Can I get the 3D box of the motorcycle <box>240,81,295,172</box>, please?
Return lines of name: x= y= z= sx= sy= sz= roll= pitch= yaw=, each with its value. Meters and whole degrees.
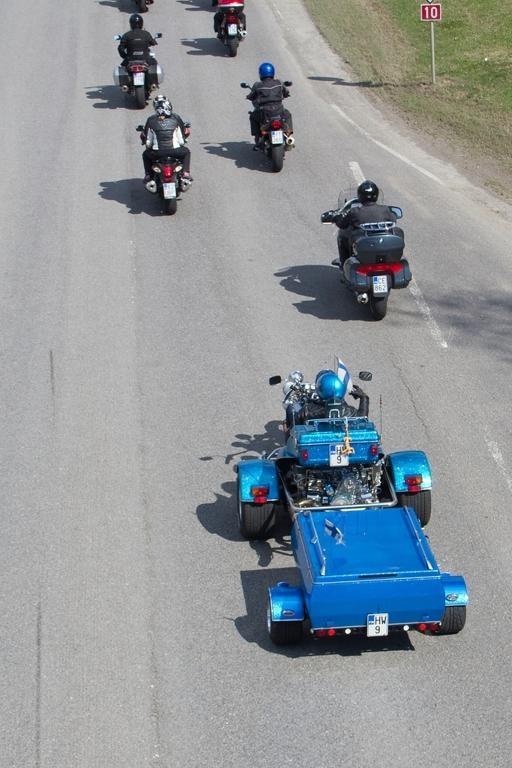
motorcycle: x=0.369 y=-5.824 z=21.344 sx=0.828 sy=1.874 sz=1.210 roll=-7 pitch=29 yaw=-11

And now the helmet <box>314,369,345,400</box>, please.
helmet: x=0.786 y=0.066 z=9.885 sx=0.320 sy=0.376 sz=0.571 roll=0 pitch=29 yaw=4

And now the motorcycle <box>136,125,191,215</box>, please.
motorcycle: x=-1.896 y=-4.458 z=19.360 sx=0.873 sy=1.157 sz=1.982 roll=-8 pitch=39 yaw=2

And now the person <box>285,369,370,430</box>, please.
person: x=0.701 y=0.270 z=10.237 sx=0.594 sy=0.487 sz=0.879 roll=-5 pitch=32 yaw=-7

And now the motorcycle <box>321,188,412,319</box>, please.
motorcycle: x=1.868 y=-2.037 z=15.164 sx=1.163 sy=1.491 sz=2.554 roll=-6 pitch=35 yaw=-4

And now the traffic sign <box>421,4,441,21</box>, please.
traffic sign: x=4.846 y=-10.282 z=25.958 sx=0.484 sy=0.511 sz=1.036 roll=6 pitch=30 yaw=14

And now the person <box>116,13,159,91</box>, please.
person: x=-3.043 y=-8.957 z=25.149 sx=1.047 sy=1.240 sz=2.184 roll=-1 pitch=42 yaw=-2

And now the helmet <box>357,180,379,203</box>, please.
helmet: x=1.869 y=-3.151 z=15.456 sx=0.306 sy=0.357 sz=0.414 roll=2 pitch=31 yaw=0

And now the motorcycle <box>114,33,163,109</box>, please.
motorcycle: x=-3.061 y=-8.228 z=24.655 sx=1.201 sy=1.783 sz=1.412 roll=-2 pitch=28 yaw=-1

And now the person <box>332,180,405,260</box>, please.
person: x=1.878 y=-2.712 z=15.509 sx=0.803 sy=0.909 sz=1.626 roll=-1 pitch=27 yaw=2

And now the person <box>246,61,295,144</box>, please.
person: x=0.298 y=-6.594 z=21.740 sx=0.936 sy=1.199 sz=2.108 roll=-2 pitch=48 yaw=1
